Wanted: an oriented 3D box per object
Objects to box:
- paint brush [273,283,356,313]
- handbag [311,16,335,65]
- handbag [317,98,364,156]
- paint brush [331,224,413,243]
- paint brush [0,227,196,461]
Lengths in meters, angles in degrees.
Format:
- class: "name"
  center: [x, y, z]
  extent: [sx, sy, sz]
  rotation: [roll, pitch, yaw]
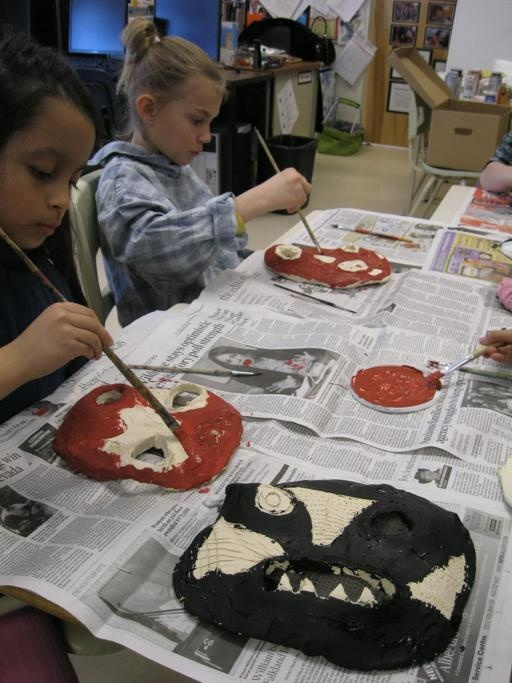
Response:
- class: "paint brush"
  center: [0.126, -0.093, 1.256]
  extent: [0.199, 0.013, 0.014]
  rotation: [18, 36, 20]
- class: "handbag"
  center: [0.562, -2.460, 4.710]
  extent: [0.143, 0.337, 0.257]
  rotation: [-1, 7, 5]
- class: "handbag"
  center: [0.727, -1.843, 4.920]
  extent: [0.355, 0.477, 0.518]
  rotation: [5, 22, 11]
- class: "paint brush"
  center: [0.315, -0.295, 1.577]
  extent: [0.183, 0.020, 0.012]
  rotation: [17, 71, 18]
- class: "paint brush"
  center: [-0.265, -0.001, 0.960]
  extent: [0.027, 0.063, 0.571]
  rotation: [-27, 71, -45]
